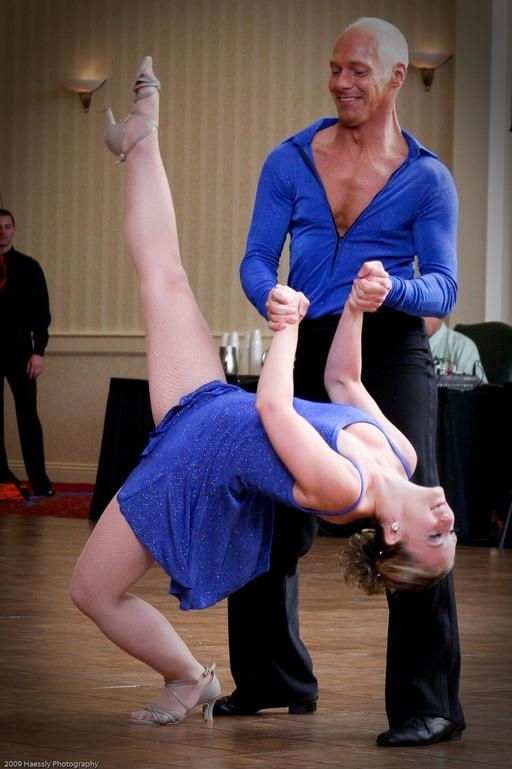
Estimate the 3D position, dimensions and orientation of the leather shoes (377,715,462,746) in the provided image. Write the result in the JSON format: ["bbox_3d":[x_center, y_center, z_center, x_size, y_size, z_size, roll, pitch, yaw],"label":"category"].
[{"bbox_3d":[0.257,0.538,1.349,0.140,0.053,0.048,2,0,-16],"label":"leather shoes"}]

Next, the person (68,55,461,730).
[{"bbox_3d":[0.016,0.028,1.336,0.720,0.939,0.324,15,17,28],"label":"person"}]

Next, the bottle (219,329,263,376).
[{"bbox_3d":[-0.106,-0.181,4.910,0.314,0.286,0.315,1,-1,33],"label":"bottle"}]

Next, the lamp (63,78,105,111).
[{"bbox_3d":[-1.289,-2.204,6.303,0.278,0.181,0.258,-2,0,-2],"label":"lamp"}]

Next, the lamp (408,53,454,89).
[{"bbox_3d":[1.166,-2.131,5.623,0.260,0.163,0.242,1,-5,2],"label":"lamp"}]
